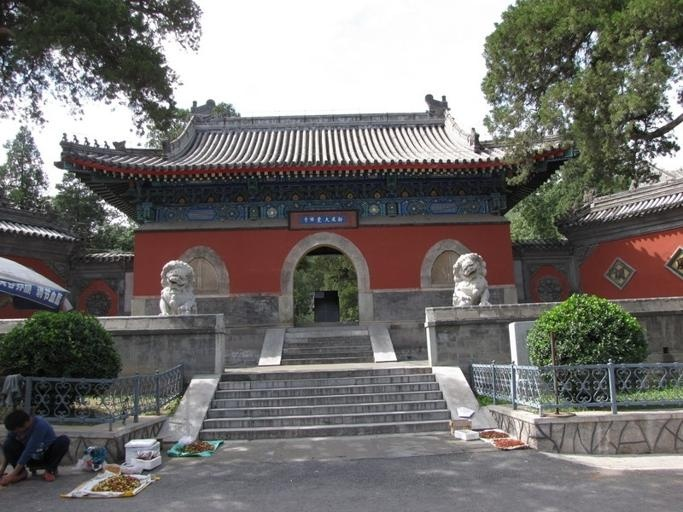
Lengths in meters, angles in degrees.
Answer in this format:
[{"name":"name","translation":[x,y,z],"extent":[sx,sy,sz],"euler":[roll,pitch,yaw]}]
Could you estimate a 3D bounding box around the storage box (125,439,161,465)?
[{"name":"storage box","translation":[-2.868,2.802,10.276],"extent":[0.353,0.228,0.363],"euler":[-1,-3,-1]}]
